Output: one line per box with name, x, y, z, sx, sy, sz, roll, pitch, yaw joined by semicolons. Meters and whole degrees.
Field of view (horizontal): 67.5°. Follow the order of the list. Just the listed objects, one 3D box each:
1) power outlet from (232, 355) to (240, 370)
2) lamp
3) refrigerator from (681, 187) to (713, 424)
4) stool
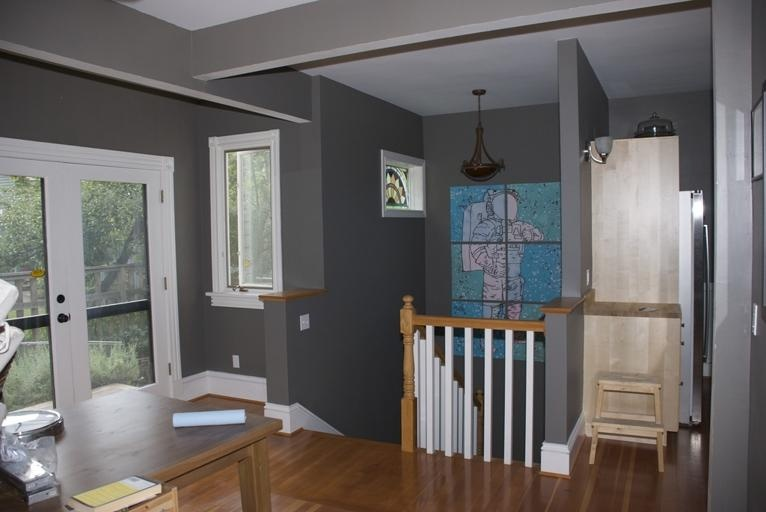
power outlet;-1.596;1.147;6.217;0.086;0.144;0.014;3;9;22
lamp;1.134;-1.343;6.482;0.475;1.007;1.369;1;8;9
refrigerator;3.036;0.453;5.614;0.346;2.165;0.936;4;10;30
stool;2.058;1.318;4.844;0.719;0.744;0.725;0;-2;21
